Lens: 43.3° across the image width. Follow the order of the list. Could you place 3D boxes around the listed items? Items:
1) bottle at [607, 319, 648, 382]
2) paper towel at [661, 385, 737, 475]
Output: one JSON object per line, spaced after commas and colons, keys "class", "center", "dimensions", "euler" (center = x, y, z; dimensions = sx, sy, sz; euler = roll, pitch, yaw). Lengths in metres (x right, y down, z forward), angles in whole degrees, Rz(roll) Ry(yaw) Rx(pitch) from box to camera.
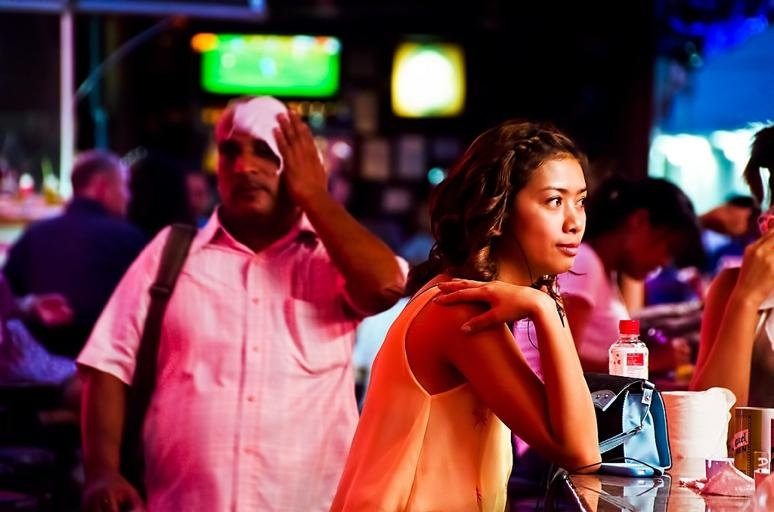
{"class": "bottle", "center": [0.979, 0.381, 3.954], "dimensions": [0.143, 0.250, 0.278], "euler": [0, -1, 13]}
{"class": "paper towel", "center": [1.304, 0.766, 4.066], "dimensions": [0.276, 0.351, 0.261], "euler": [-2, 21, -9]}
